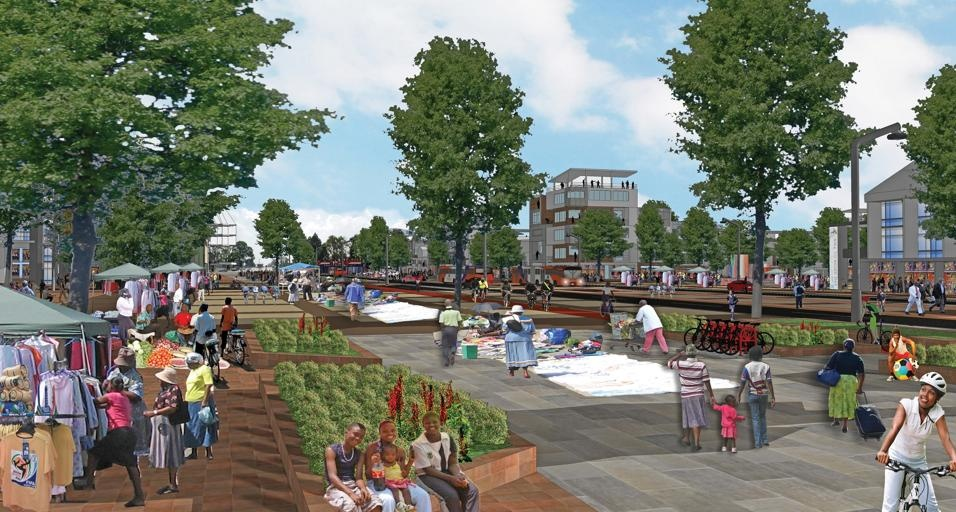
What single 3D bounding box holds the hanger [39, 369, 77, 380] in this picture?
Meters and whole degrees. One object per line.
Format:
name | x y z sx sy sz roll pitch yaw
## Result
hanger | -11.557 3.244 22.348 0.451 0.176 0.601 3 -4 -38
